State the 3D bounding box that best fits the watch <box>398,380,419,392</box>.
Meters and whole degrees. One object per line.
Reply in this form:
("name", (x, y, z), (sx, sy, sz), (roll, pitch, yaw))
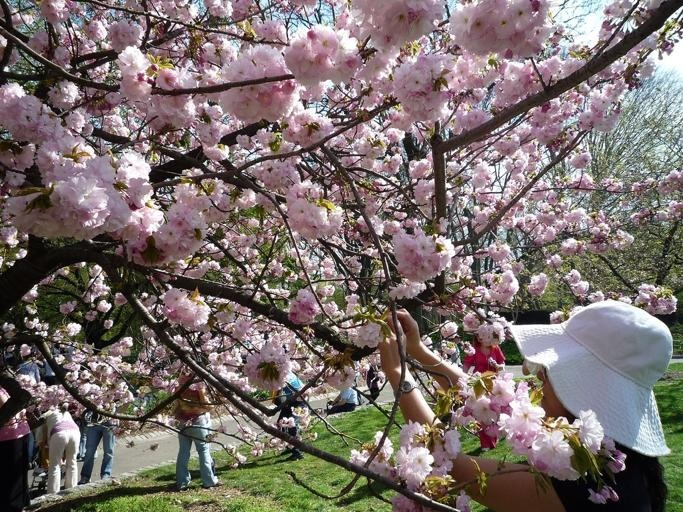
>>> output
("watch", (0.312, 0.598, 2.192), (0.098, 0.074, 0.027), (-6, -53, -6))
